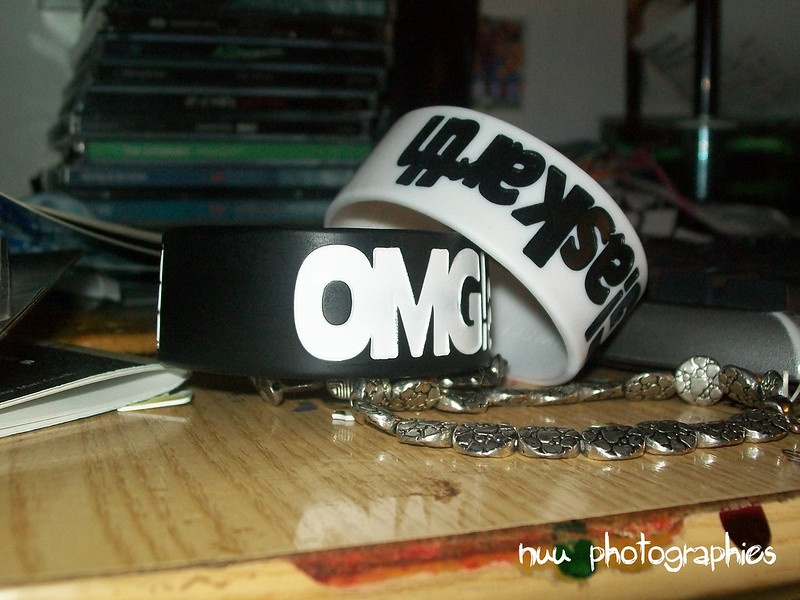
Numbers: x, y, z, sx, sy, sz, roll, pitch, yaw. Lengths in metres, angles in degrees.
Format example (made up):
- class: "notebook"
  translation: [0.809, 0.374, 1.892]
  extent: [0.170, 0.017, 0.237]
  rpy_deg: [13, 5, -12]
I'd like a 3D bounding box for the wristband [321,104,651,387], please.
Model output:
- class: "wristband"
  translation: [0.079, -0.075, 0.561]
  extent: [0.230, 0.200, 0.094]
  rpy_deg: [23, 61, 40]
